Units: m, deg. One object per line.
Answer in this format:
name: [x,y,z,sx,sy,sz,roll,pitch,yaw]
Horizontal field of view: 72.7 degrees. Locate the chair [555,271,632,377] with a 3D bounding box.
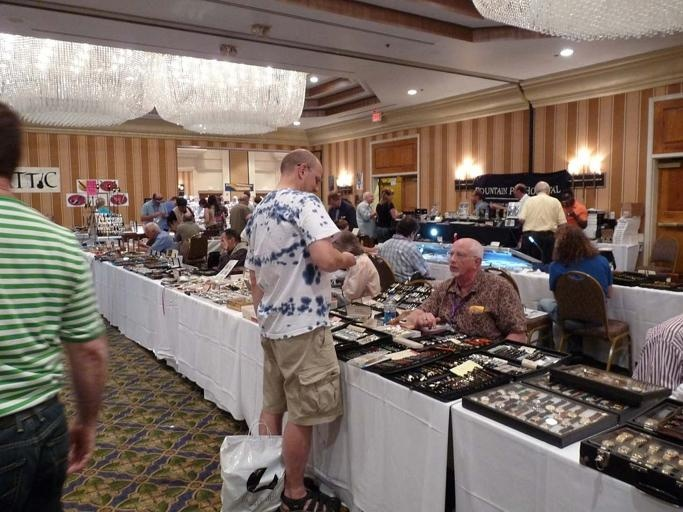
chair: [2.157,0.565,4.009,0.524,0.919,0.468,-3,3,-37]

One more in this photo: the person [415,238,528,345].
person: [0.822,0.239,3.004,0.736,0.685,0.423,2,2,41]

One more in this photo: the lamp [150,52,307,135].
lamp: [-1.788,-2.136,6.722,1.291,0.605,1.326,-4,6,-42]

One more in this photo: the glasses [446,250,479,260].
glasses: [0.756,-0.012,2.890,0.133,0.040,0.103,1,2,-9]

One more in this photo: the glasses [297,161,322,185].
glasses: [-0.174,-0.456,2.527,0.112,0.114,0.096,-22,33,-33]

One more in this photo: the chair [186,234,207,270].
chair: [-2.265,-0.085,7.243,0.381,0.604,0.420,-5,14,-35]
